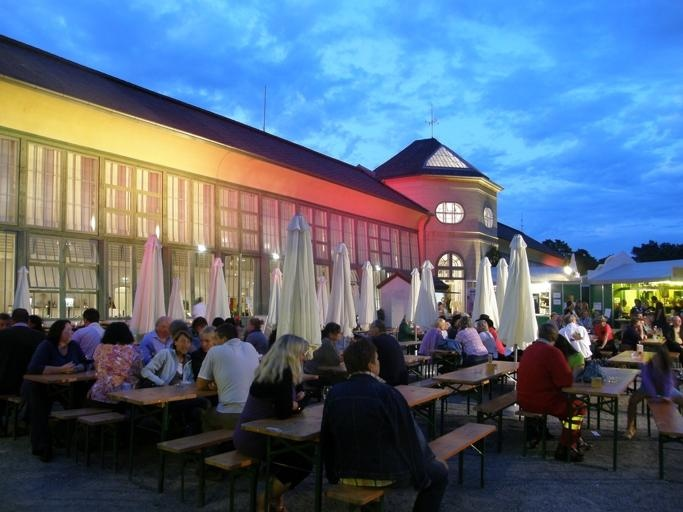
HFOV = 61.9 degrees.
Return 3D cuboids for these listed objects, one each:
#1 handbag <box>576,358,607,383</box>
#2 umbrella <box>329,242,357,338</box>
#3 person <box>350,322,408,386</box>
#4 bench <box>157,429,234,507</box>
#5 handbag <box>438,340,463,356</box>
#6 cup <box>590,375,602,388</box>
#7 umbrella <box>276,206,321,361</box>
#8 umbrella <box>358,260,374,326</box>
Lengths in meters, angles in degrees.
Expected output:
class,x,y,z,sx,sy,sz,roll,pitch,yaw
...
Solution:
class,x,y,z,sx,sy,sz,roll,pitch,yaw
handbag,4.479,2.061,10.310,0.511,0.341,0.394,-3,1,-23
umbrella,-0.036,0.586,16.384,0.724,1.968,0.782,2,19,-5
person,0.746,2.084,11.211,0.889,1.647,0.733,-6,-28,20
bench,-2.139,3.059,8.392,0.571,0.678,1.127,-5,-9,24
handbag,2.942,2.416,15.388,0.434,0.228,0.346,-8,-19,36
cup,4.366,2.142,9.831,0.160,0.125,0.166,0,-4,0
umbrella,-0.789,0.241,11.091,0.728,1.995,0.683,1,8,13
umbrella,1.066,1.465,21.201,0.654,2.468,0.626,-11,-16,39
